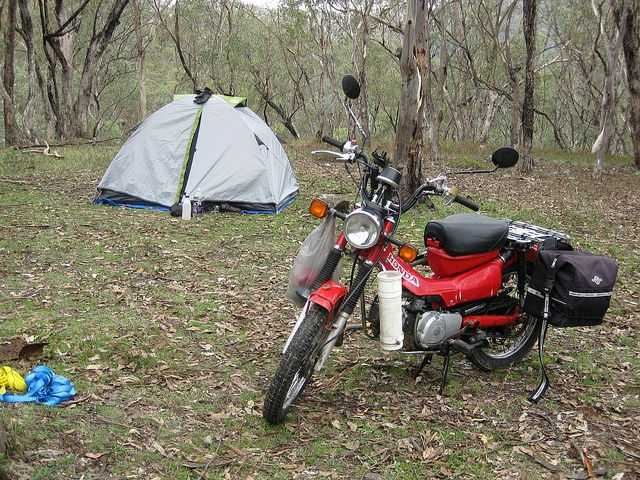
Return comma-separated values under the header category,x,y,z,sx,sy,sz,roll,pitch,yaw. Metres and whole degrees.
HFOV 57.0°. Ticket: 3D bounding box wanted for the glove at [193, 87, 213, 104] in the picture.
category,x,y,z,sx,sy,sz,roll,pitch,yaw
glove,-2.371,-2.962,11.947,0.242,0.186,0.421,15,44,21
